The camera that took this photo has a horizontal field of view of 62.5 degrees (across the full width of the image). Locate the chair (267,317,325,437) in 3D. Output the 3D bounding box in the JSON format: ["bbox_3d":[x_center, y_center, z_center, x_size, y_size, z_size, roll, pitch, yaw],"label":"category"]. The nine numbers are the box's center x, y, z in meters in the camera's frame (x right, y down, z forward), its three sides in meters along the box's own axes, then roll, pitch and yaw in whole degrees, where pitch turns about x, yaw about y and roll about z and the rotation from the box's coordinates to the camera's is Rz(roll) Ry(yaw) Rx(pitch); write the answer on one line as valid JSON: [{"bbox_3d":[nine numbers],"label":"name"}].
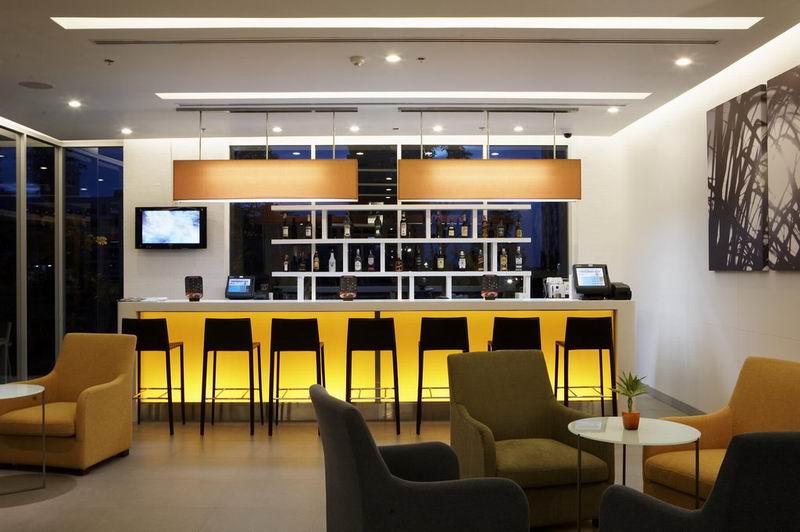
[{"bbox_3d":[-1.247,1.231,7.841,0.703,1.353,0.802,-2,10,-8],"label":"chair"}]

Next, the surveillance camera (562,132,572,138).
[{"bbox_3d":[2.440,-1.932,9.643,0.127,0.075,0.123,1,3,14],"label":"surveillance camera"}]

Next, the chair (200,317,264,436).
[{"bbox_3d":[-2.014,1.238,7.817,0.746,1.355,0.900,-3,10,-12],"label":"chair"}]

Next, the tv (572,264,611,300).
[{"bbox_3d":[2.425,0.224,8.551,0.565,0.551,0.409,0,-3,0],"label":"tv"}]

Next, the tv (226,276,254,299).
[{"bbox_3d":[-2.257,0.302,9.300,0.386,0.290,0.314,-2,10,-10],"label":"tv"}]

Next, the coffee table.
[{"bbox_3d":[1.837,1.484,5.426,1.014,0.754,1.061,1,3,-3],"label":"coffee table"}]
